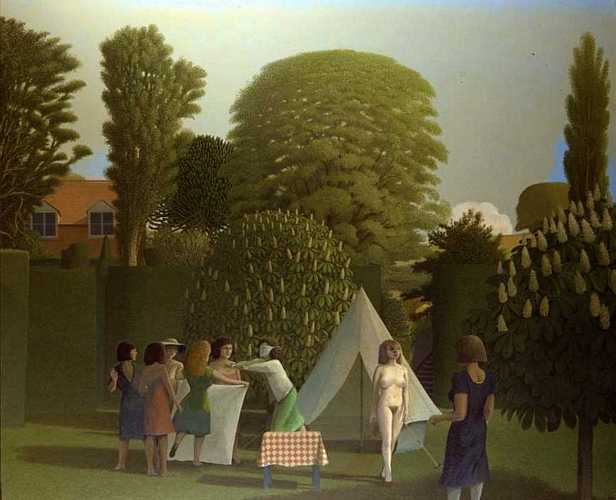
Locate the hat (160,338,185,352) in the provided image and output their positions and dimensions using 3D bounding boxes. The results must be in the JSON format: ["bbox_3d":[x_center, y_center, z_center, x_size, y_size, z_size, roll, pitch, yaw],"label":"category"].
[{"bbox_3d":[-2.319,1.650,14.308,0.469,0.245,0.396,-1,5,-32],"label":"hat"}]
